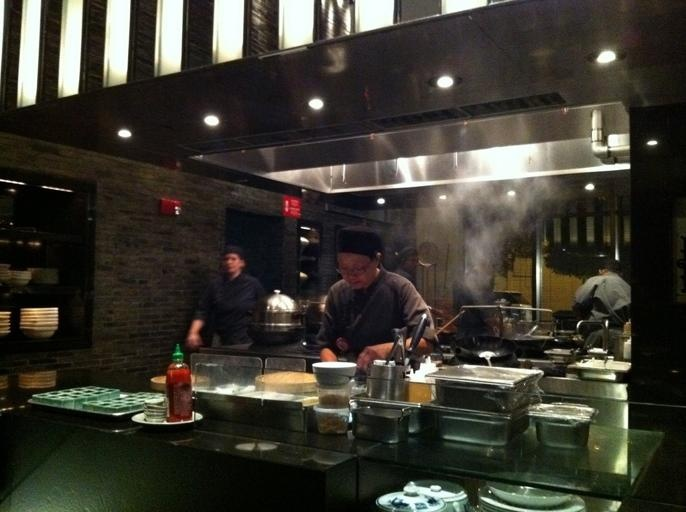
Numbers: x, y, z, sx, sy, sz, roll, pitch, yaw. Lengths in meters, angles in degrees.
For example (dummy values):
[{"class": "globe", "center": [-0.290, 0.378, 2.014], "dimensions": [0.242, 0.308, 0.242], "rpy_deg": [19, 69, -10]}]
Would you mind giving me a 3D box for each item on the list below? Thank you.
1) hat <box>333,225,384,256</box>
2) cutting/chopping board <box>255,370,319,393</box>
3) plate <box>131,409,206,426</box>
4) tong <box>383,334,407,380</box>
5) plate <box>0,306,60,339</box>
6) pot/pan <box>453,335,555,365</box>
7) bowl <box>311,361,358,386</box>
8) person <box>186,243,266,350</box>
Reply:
[{"class": "hat", "center": [0.087, -0.078, 3.316], "dimensions": [0.183, 0.101, 0.185], "rpy_deg": [5, 5, 17]}, {"class": "cutting/chopping board", "center": [-0.202, 0.453, 2.093], "dimensions": [0.218, 0.069, 0.094], "rpy_deg": [-1, -5, 27]}, {"class": "plate", "center": [-0.645, 0.590, 2.110], "dimensions": [0.265, 0.049, 0.197], "rpy_deg": [2, -4, -1]}, {"class": "tong", "center": [0.200, 0.348, 2.060], "dimensions": [0.067, 0.149, 0.065], "rpy_deg": [15, -11, -41]}, {"class": "plate", "center": [-2.126, 0.460, 3.992], "dimensions": [0.411, 0.210, 0.256], "rpy_deg": [5, -5, -38]}, {"class": "pot/pan", "center": [0.776, 0.451, 2.833], "dimensions": [0.271, 0.129, 0.660], "rpy_deg": [-2, -6, 40]}, {"class": "bowl", "center": [-0.027, 0.411, 2.051], "dimensions": [0.143, 0.075, 0.202], "rpy_deg": [1, -4, 7]}, {"class": "person", "center": [-0.803, 0.285, 4.028], "dimensions": [0.506, 0.704, 0.153], "rpy_deg": [3, -4, -15]}]
